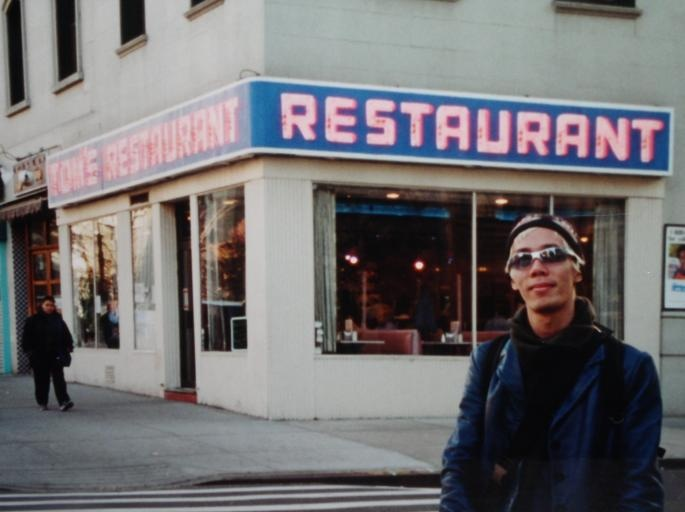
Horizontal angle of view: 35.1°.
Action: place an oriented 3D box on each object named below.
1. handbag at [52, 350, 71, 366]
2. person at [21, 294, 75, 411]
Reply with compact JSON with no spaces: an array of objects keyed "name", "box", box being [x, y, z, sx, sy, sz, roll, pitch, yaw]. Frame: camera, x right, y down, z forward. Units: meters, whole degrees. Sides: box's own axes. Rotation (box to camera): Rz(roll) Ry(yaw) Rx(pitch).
[{"name":"handbag","box":[-4.857,1.777,18.820,0.222,0.243,0.245,-6,-4,6]},{"name":"person","box":[-5.043,1.680,18.789,1.002,1.913,0.613,1,3,21]}]
